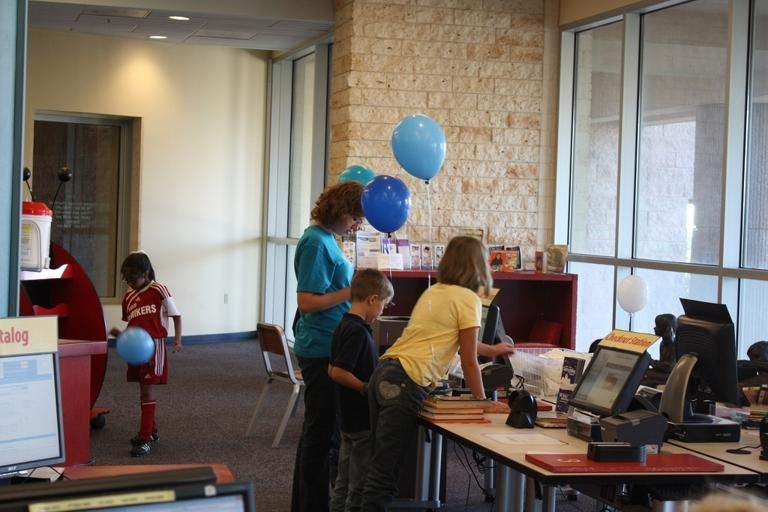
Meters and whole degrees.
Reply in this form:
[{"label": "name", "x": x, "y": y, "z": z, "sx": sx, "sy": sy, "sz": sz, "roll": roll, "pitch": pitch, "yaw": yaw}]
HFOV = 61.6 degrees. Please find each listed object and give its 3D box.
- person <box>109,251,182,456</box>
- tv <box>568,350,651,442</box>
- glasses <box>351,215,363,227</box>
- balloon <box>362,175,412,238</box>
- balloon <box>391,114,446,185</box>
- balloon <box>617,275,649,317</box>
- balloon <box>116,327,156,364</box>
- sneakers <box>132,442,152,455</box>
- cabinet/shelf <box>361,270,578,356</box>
[{"label": "person", "x": -1.928, "y": 0.770, "z": 5.328, "sx": 0.473, "sy": 1.581, "sz": 1.078, "roll": 2, "pitch": 3, "yaw": -21}, {"label": "tv", "x": 1.117, "y": 0.700, "z": 3.175, "sx": 0.296, "sy": 0.542, "sz": 0.398, "roll": 6, "pitch": -1, "yaw": -16}, {"label": "glasses", "x": -0.153, "y": -0.202, "z": 3.815, "sx": 0.047, "sy": 0.067, "sz": 0.068, "roll": 1, "pitch": 3, "yaw": -3}, {"label": "balloon", "x": 0.025, "y": -0.331, "z": 4.197, "sx": 0.348, "sy": 0.423, "sz": 0.357, "roll": -4, "pitch": 18, "yaw": -6}, {"label": "balloon", "x": 0.277, "y": -0.789, "z": 4.834, "sx": 0.429, "sy": 0.549, "sz": 0.431, "roll": -11, "pitch": 4, "yaw": 7}, {"label": "balloon", "x": 2.094, "y": 0.341, "z": 5.440, "sx": 0.286, "sy": 0.371, "sz": 0.303, "roll": 2, "pitch": 18, "yaw": 20}, {"label": "balloon", "x": -1.349, "y": 0.490, "z": 3.524, "sx": 0.183, "sy": 0.218, "sz": 0.170, "roll": 2, "pitch": 3, "yaw": -8}, {"label": "sneakers", "x": -1.936, "y": 1.541, "z": 5.186, "sx": 0.065, "sy": 0.090, "sz": 0.191, "roll": 2, "pitch": -10, "yaw": 2}, {"label": "cabinet/shelf", "x": 1.029, "y": 0.486, "z": 6.937, "sx": 2.181, "sy": 0.735, "sz": 2.066, "roll": 2, "pitch": 4, "yaw": 17}]
